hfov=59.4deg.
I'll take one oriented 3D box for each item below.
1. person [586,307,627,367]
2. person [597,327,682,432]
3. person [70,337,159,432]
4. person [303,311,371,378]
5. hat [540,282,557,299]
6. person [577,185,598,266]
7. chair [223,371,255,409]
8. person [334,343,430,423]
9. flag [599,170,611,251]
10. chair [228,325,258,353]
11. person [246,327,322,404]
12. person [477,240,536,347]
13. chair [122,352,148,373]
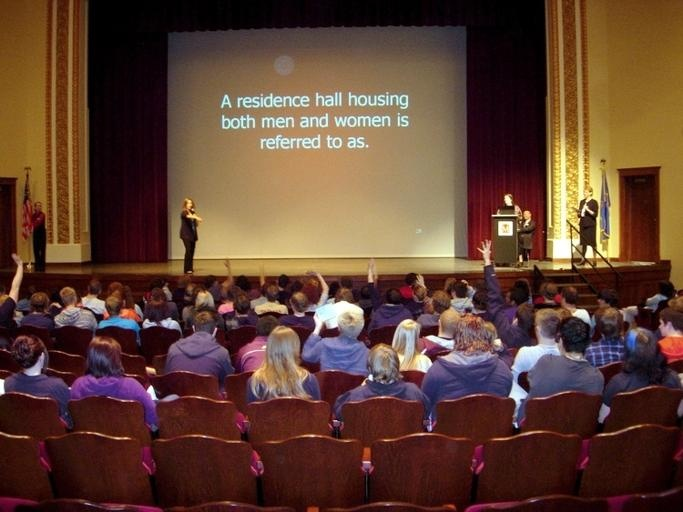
[{"bbox_3d":[2.309,0.781,5.200,0.224,0.260,0.787,-5,32,15],"label":"person"},{"bbox_3d":[2.151,0.919,4.344,0.438,0.925,0.341,-6,47,11],"label":"person"},{"bbox_3d":[-1.694,0.980,4.488,0.453,1.122,0.341,-2,19,-5],"label":"person"},{"bbox_3d":[-0.021,0.740,4.996,0.525,0.849,0.515,5,49,-4],"label":"person"},{"bbox_3d":[2.635,0.449,7.653,0.184,0.223,0.339,0,2,18],"label":"hat"},{"bbox_3d":[5.176,-0.671,12.677,0.373,1.695,2.346,0,2,23],"label":"person"},{"bbox_3d":[-0.814,1.055,4.875,0.205,0.442,0.283,2,8,-2],"label":"chair"},{"bbox_3d":[0.257,0.931,4.241,0.630,0.722,0.412,-5,29,-4],"label":"person"},{"bbox_3d":[6.081,-1.173,13.874,0.233,1.966,0.598,0,2,25],"label":"flag"},{"bbox_3d":[-1.072,0.879,6.593,0.247,0.464,0.301,1,5,-7],"label":"chair"},{"bbox_3d":[-0.452,0.798,4.341,0.469,0.776,0.423,-1,39,-10],"label":"person"},{"bbox_3d":[1.699,0.327,7.437,0.919,0.548,1.388,20,13,-3],"label":"person"},{"bbox_3d":[-1.927,1.002,5.564,0.161,0.306,0.189,1,-2,-27],"label":"chair"}]
